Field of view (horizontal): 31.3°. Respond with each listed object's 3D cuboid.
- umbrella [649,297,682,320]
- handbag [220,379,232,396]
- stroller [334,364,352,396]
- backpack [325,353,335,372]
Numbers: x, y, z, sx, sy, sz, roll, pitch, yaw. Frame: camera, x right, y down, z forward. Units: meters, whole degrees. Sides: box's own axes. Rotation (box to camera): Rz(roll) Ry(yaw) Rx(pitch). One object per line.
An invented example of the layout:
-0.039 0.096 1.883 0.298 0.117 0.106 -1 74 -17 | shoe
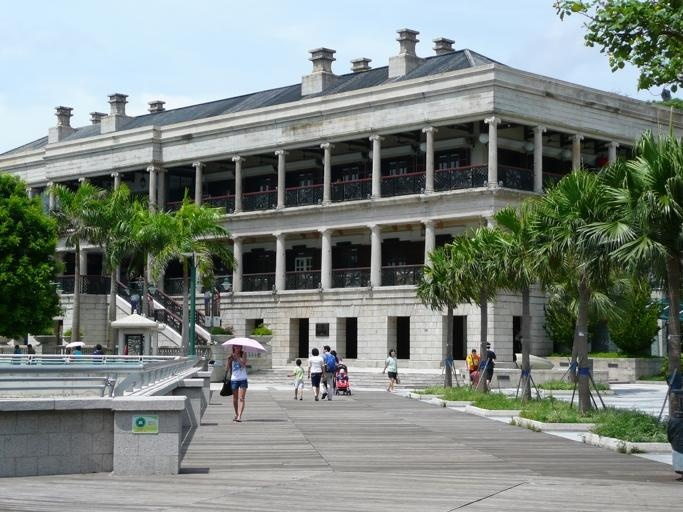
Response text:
12.453 2.024 46.967 1.518 0.683 2.062 -2 -2 25 | umbrella
-3.299 3.717 34.925 0.287 0.471 0.886 2 -11 -6 | handbag
-0.117 4.895 47.973 0.620 1.379 0.988 1 -14 -7 | stroller
-0.445 3.878 44.647 0.293 0.549 0.463 -20 -23 41 | backpack
